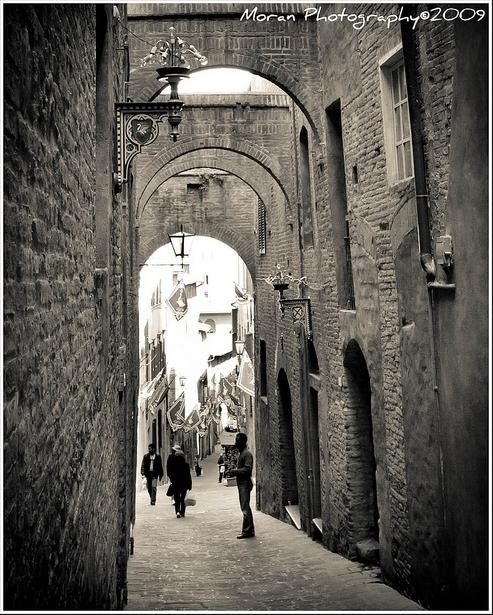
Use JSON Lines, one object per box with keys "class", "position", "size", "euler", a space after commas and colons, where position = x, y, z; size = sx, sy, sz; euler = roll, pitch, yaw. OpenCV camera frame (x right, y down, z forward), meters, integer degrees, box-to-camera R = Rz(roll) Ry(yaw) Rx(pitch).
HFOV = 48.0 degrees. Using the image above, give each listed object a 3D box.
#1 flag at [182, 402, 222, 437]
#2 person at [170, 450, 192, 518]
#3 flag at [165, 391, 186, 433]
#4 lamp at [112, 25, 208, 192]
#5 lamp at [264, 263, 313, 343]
{"class": "flag", "position": [-2.305, 5.670, 29.255], "size": [1.153, 2.529, 3.741], "euler": [-2, -14, 5]}
{"class": "person", "position": [-1.561, 4.035, 12.811], "size": [0.518, 1.626, 1.391], "euler": [1, -10, -7]}
{"class": "flag", "position": [-3.207, 5.107, 26.560], "size": [0.893, 2.723, 0.467], "euler": [19, -55, -16]}
{"class": "lamp", "position": [-0.910, -2.122, 5.810], "size": [0.756, 0.575, 1.855], "euler": [-7, -46, -22]}
{"class": "lamp", "position": [0.840, -0.047, 11.083], "size": [0.587, 1.767, 0.661], "euler": [-4, -14, -11]}
